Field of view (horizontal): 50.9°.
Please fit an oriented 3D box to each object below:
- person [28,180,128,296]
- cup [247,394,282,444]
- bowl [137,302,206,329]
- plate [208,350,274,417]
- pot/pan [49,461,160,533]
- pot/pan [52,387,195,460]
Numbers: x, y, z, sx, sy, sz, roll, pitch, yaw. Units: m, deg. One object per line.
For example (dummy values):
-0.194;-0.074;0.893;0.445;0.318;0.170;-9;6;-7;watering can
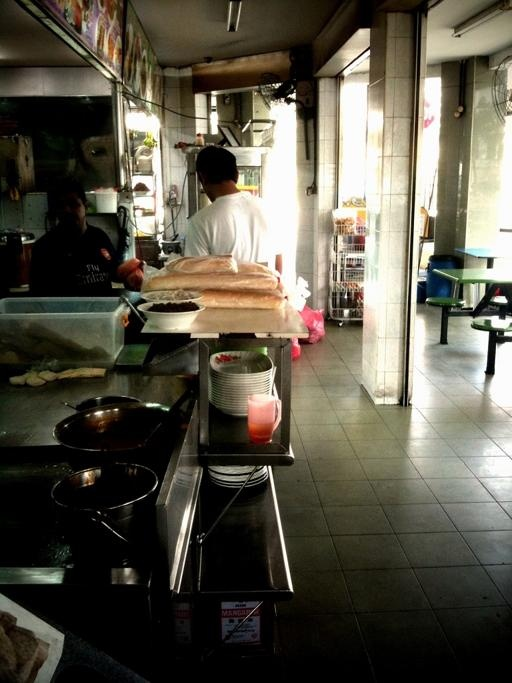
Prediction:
-1.254;-0.711;3.668;0.573;0.748;0.933;-3;12;-18;person
0.020;0.227;1.659;0.157;0.138;0.097;-1;4;-34;cup
-0.228;-0.078;1.512;0.189;0.068;0.181;1;11;0;bowl
-0.053;0.133;1.768;0.203;0.128;0.224;1;8;1;plate
-0.321;0.341;1.169;0.223;0.087;0.260;-3;12;-18;pot/pan
-0.398;0.226;1.547;0.232;0.083;0.155;-11;17;-38;pot/pan
